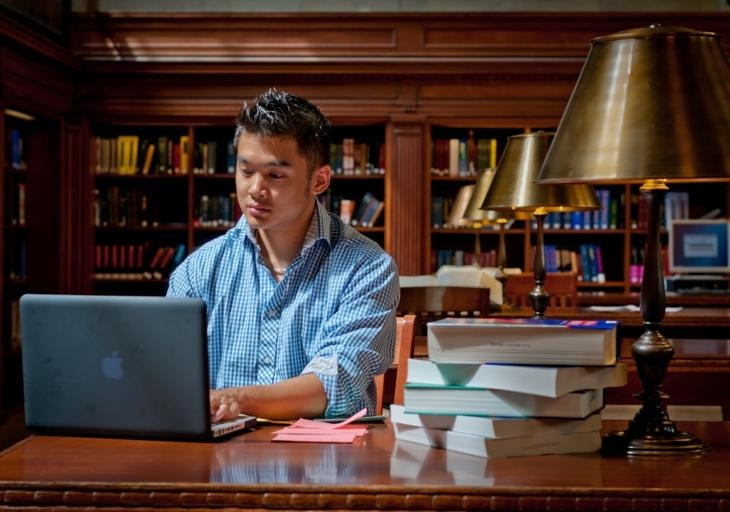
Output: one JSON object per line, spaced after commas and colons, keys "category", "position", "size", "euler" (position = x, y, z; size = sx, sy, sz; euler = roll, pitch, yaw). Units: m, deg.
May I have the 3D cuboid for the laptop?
{"category": "laptop", "position": [-0.523, 0.235, 1.666], "size": [0.454, 0.281, 0.318], "euler": [-1, -1, 12]}

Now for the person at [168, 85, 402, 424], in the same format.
{"category": "person", "position": [-0.254, 0.040, 2.076], "size": [0.649, 0.848, 0.600], "euler": [-1, -5, 10]}

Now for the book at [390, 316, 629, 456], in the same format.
{"category": "book", "position": [0.301, 0.240, 1.590], "size": [0.347, 0.200, 0.340], "euler": [0, -1, 31]}
